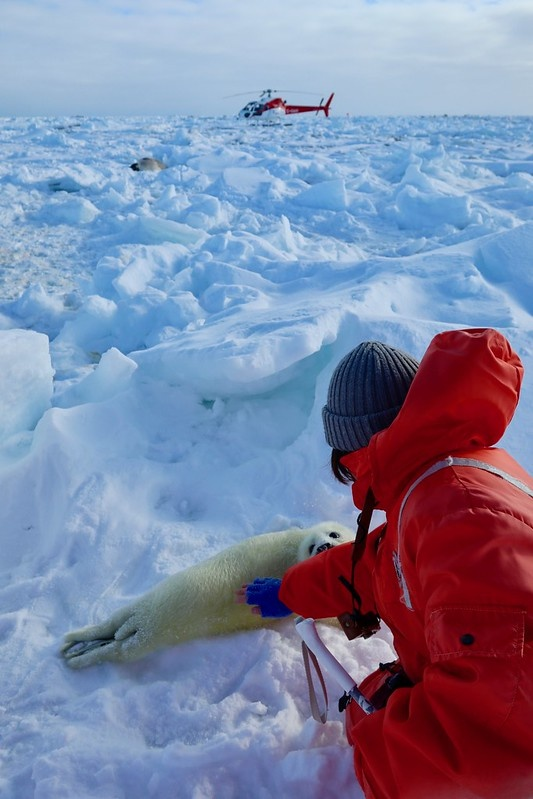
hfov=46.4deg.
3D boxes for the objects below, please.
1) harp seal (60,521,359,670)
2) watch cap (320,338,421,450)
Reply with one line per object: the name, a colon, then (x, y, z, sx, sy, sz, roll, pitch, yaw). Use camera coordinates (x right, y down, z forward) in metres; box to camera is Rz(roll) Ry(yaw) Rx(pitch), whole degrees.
harp seal: (-0.164, 0.535, 1.648, 0.816, 0.218, 0.247, -18, 5, -23)
watch cap: (0.204, -0.009, 1.247, 0.198, 0.197, 0.181, -17, 18, 30)
